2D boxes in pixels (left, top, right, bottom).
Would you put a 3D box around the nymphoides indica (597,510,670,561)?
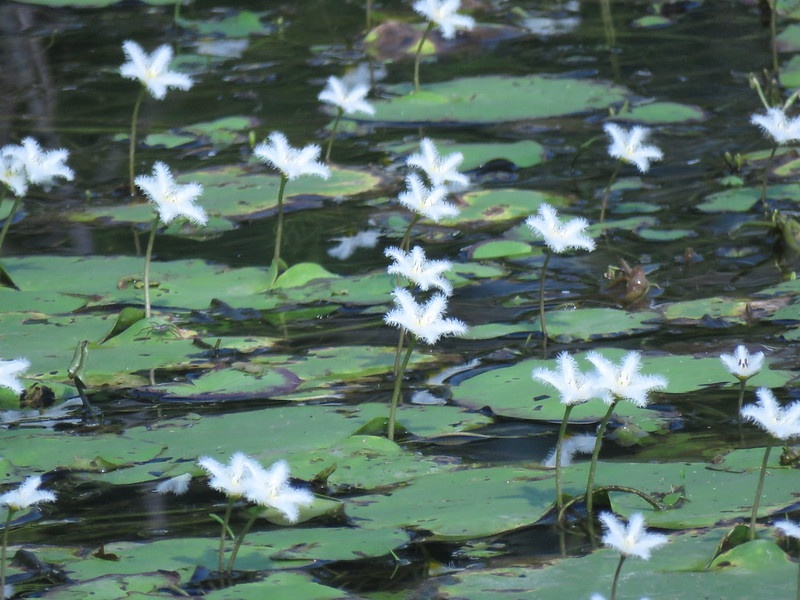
[{"bbox_3d":[0.857,0.863,3.848,0.219,0.176,0.156,-6,13,-1],"label":"nymphoides indica"}]
